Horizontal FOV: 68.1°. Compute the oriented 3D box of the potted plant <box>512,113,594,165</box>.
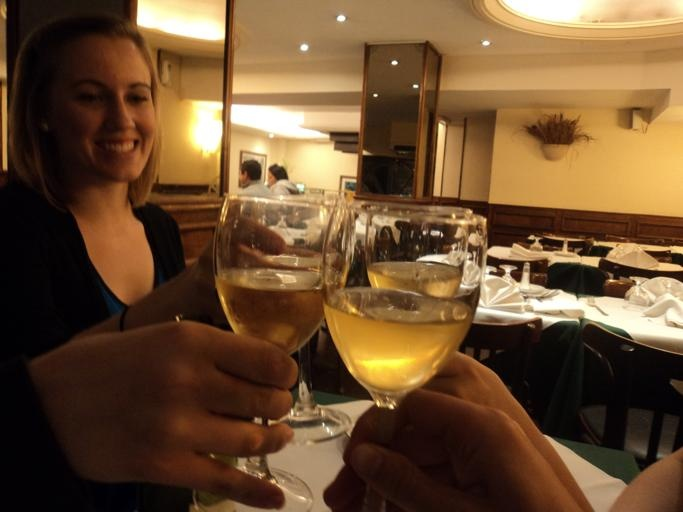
[{"bbox_3d":[3.601,-2.008,8.437,0.763,0.628,0.794,4,-1,-6],"label":"potted plant"}]

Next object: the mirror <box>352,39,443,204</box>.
[{"bbox_3d":[0.788,-1.786,6.843,1.110,1.995,0.709,5,9,0],"label":"mirror"}]

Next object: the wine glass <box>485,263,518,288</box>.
[{"bbox_3d":[0.937,0.117,2.959,0.112,0.136,0.130,-1,17,5],"label":"wine glass"}]
